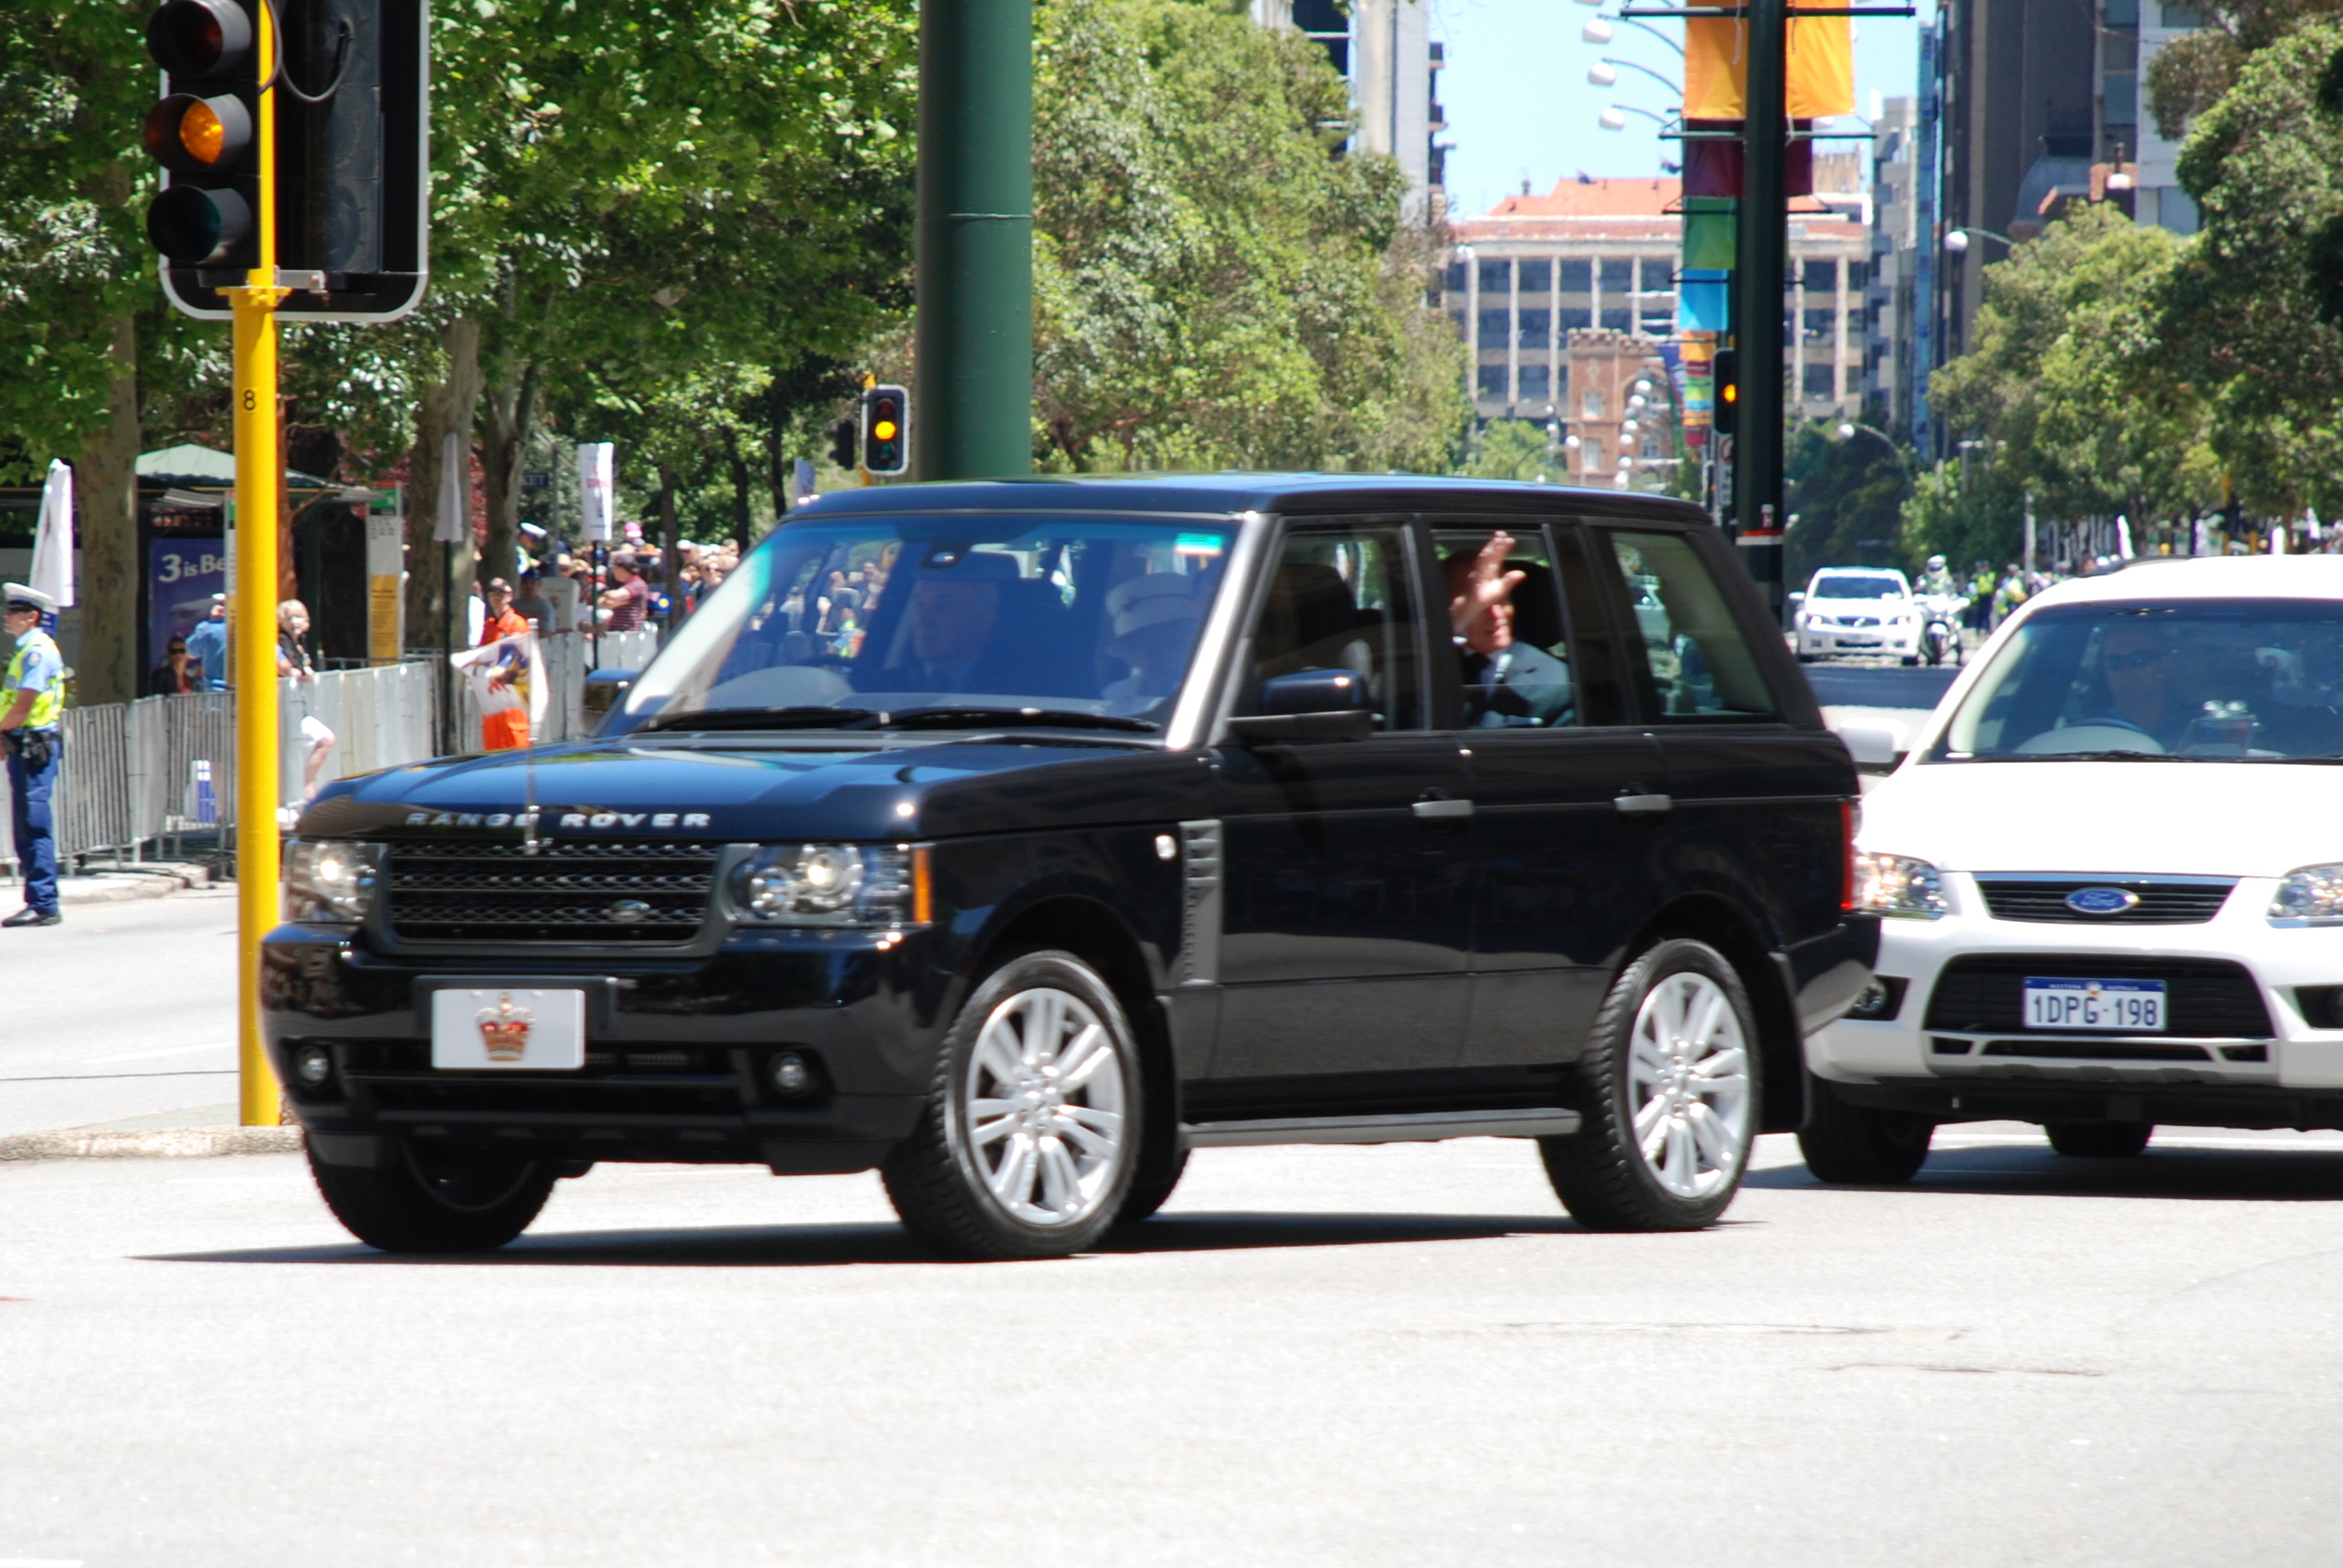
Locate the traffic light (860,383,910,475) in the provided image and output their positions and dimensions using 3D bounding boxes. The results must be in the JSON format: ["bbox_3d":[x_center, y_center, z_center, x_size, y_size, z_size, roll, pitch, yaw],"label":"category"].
[{"bbox_3d":[-1.906,-2.407,27.046,0.400,0.581,0.167,-2,-9,18],"label":"traffic light"}]

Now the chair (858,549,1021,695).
[{"bbox_3d":[-0.773,-0.489,12.399,0.561,0.457,0.371,6,-9,0],"label":"chair"}]

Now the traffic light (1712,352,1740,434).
[{"bbox_3d":[4.872,-3.515,35.643,0.225,0.727,0.724,-3,4,7],"label":"traffic light"}]
